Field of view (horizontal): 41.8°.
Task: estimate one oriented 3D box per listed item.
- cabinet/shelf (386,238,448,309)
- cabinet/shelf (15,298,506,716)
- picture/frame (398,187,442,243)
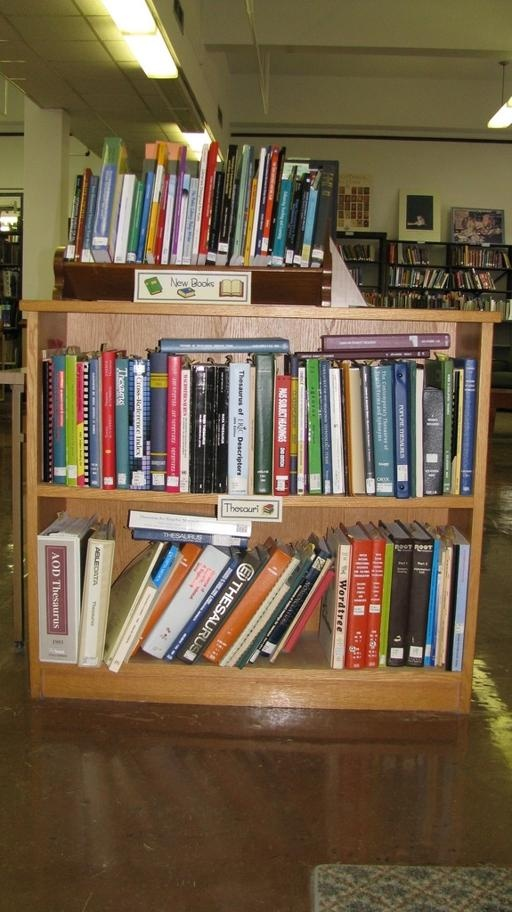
[{"bbox_3d":[2.235,-2.430,9.159,0.750,0.900,0.252,5,17,17],"label":"cabinet/shelf"},{"bbox_3d":[-0.003,0.127,1.617,0.887,0.900,0.344,0,2,1],"label":"cabinet/shelf"},{"bbox_3d":[2.210,-3.300,9.160,0.643,0.870,0.081,0,1,-6],"label":"picture/frame"}]
